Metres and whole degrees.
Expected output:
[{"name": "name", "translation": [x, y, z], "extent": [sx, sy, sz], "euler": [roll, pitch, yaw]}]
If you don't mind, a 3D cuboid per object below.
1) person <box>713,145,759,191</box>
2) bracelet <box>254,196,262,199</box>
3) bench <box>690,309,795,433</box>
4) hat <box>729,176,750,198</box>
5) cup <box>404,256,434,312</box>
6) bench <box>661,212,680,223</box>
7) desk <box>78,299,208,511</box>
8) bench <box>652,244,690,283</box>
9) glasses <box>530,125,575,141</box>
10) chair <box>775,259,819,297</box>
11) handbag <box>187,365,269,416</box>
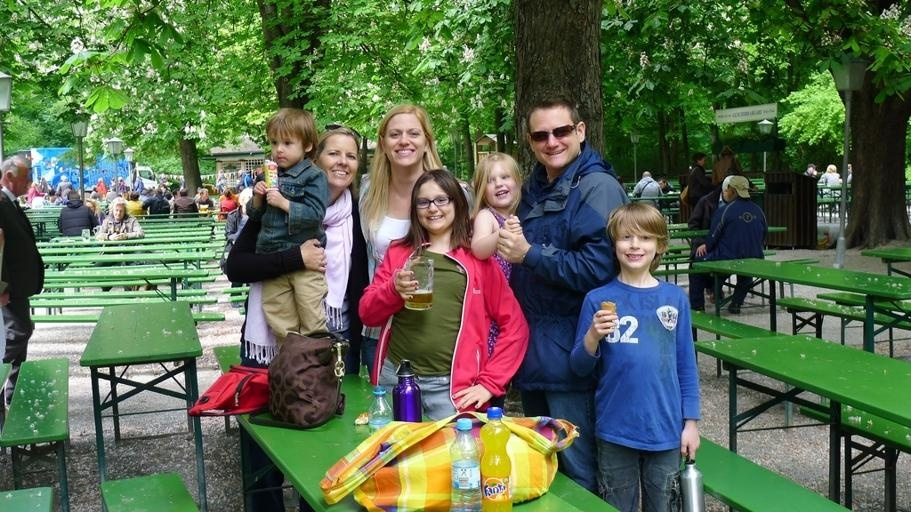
[{"name": "person", "translation": [6.087, -1.884, 16.808], "extent": [1.002, 0.665, 0.618], "euler": [19, 20, 37]}, {"name": "bracelet", "translation": [-2.030, -0.592, 7.974], "extent": [0.041, 0.034, 0.039], "euler": [2, 2, -21]}, {"name": "bench", "translation": [3.766, 1.315, 10.690], "extent": [0.866, 0.901, 1.196], "euler": [-5, 5, -27]}, {"name": "hat", "translation": [4.771, -1.143, 12.945], "extent": [0.291, 0.197, 0.405], "euler": [-6, 25, -15]}, {"name": "cup", "translation": [-0.340, 0.265, 7.326], "extent": [0.280, 0.492, 0.131], "euler": [-2, 5, 15]}, {"name": "bench", "translation": [5.829, -1.030, 20.838], "extent": [0.448, 0.213, 0.993], "euler": [-2, 11, 0]}, {"name": "desk", "translation": [-3.808, 1.892, 9.408], "extent": [0.842, 1.067, 2.335], "euler": [-1, 6, -11]}, {"name": "bench", "translation": [3.657, 0.153, 13.061], "extent": [0.417, 0.201, 0.889], "euler": [-2, 15, -6]}, {"name": "glasses", "translation": [0.934, -1.171, 7.479], "extent": [0.238, 0.063, 0.222], "euler": [-12, -1, 16]}, {"name": "chair", "translation": [5.517, 0.388, 12.474], "extent": [0.777, 0.170, 0.314], "euler": [-12, 16, -42]}, {"name": "handbag", "translation": [-2.212, 1.339, 7.532], "extent": [0.669, 0.255, 0.506], "euler": [-6, 9, -37]}]
